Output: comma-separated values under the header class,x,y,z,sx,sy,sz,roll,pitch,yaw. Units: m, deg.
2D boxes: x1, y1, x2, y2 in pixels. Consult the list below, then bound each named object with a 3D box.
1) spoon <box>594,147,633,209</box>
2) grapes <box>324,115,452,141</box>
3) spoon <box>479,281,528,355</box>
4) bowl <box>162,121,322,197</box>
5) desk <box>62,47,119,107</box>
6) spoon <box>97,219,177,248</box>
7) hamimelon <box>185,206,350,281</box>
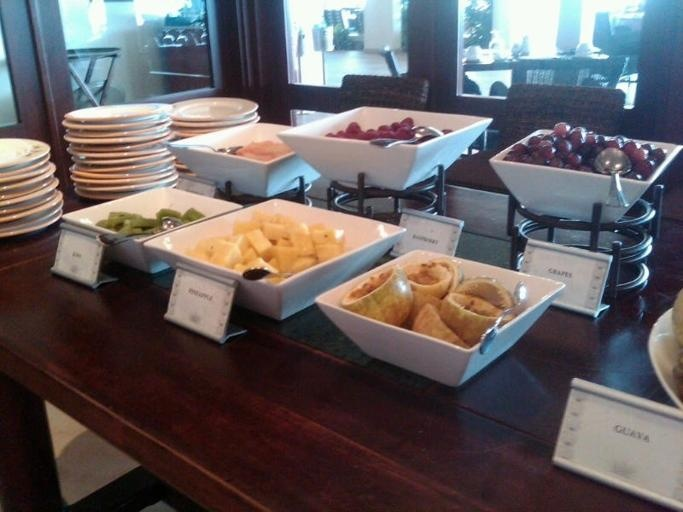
class,x,y,z,sx,sy,sz,roll,pitch,yaw
spoon,0.418,-0.125,0.746,0.042,0.021,0.125,5,42,13
grapes,0.106,-0.284,1.063,0.179,0.076,0.239,14,22,42
spoon,0.217,0.081,0.626,0.022,0.049,0.158,15,27,32
bowl,-0.214,-0.236,1.268,0.383,0.114,0.400,0,20,0
desk,-1.138,-0.832,2.239,0.194,0.262,0.178,18,31,35
spoon,-0.402,-0.052,0.937,0.079,0.023,0.117,19,30,38
hamimelon,-0.120,-0.058,0.856,0.216,0.100,0.276,13,22,40
